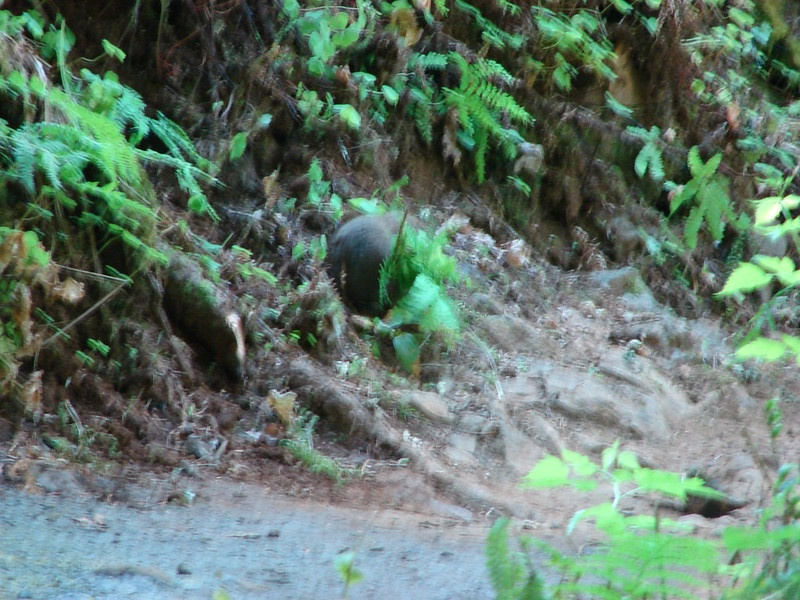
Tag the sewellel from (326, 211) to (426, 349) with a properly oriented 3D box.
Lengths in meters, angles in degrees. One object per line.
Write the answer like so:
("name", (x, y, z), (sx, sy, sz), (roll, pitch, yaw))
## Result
("sewellel", (-0.093, -0.311, 8.669), (0.842, 0.613, 0.616), (-4, -1, 15))
